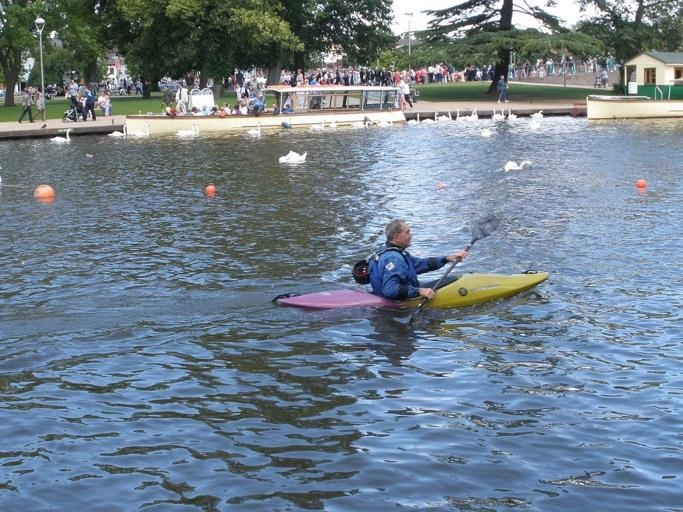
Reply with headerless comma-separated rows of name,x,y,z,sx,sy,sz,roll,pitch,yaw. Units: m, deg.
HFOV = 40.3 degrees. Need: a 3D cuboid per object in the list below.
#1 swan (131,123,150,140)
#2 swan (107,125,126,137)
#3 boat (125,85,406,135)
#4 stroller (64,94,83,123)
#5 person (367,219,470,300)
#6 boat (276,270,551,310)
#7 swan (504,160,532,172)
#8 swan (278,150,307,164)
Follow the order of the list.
swan,-10.105,-6.304,46.297,1.186,0.707,1.392,0,7,-11
swan,-11.140,-6.274,46.327,0.781,0.576,1.521,0,7,-13
boat,-2.938,-7.724,49.121,14.871,3.119,2.179,-1,10,-23
stroller,-14.318,-7.971,50.041,0.786,1.404,1.090,2,9,-1
person,1.202,0.069,16.733,1.256,1.484,0.751,0,10,-13
boat,0.584,0.720,17.122,6.615,0.660,1.242,0,-2,-14
swan,6.318,-3.207,33.066,1.174,0.249,0.641,-4,10,-28
swan,-1.743,-3.791,35.549,1.162,0.293,0.676,-1,4,-18
